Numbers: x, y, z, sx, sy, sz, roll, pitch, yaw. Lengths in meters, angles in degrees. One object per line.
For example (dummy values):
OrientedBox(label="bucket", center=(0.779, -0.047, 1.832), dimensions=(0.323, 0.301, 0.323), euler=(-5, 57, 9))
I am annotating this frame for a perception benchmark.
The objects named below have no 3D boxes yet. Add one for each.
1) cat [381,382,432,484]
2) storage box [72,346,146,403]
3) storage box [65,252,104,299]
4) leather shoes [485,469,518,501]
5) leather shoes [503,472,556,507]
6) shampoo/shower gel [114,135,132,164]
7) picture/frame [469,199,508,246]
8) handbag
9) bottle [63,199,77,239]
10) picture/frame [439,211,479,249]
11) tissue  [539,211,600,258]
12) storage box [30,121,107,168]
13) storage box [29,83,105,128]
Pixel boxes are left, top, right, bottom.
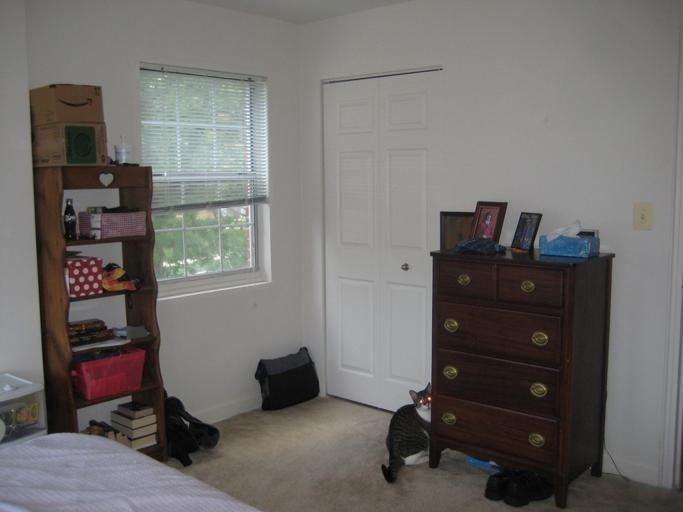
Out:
OrientedBox(label="cat", center=(0.468, 1.184, 3.638), dimensions=(0.240, 0.304, 0.715), euler=(0, 48, 36))
OrientedBox(label="storage box", center=(-1.417, 0.712, 3.200), dimensions=(0.240, 0.244, 0.352), euler=(1, 1, 45))
OrientedBox(label="storage box", center=(-1.513, 0.102, 3.079), dimensions=(0.222, 0.232, 0.222), euler=(-6, 10, -41))
OrientedBox(label="leather shoes", center=(0.940, 1.369, 3.098), dimensions=(0.094, 0.093, 0.214), euler=(4, 10, 31))
OrientedBox(label="leather shoes", center=(1.087, 1.358, 3.051), dimensions=(0.286, 0.119, 0.141), euler=(-7, 6, -34))
OrientedBox(label="shampoo/shower gel", center=(-1.399, -0.653, 3.307), dimensions=(0.109, 0.122, 0.058), euler=(3, 10, 20))
OrientedBox(label="picture/frame", center=(1.008, -0.225, 3.535), dimensions=(0.037, 0.382, 0.265), euler=(15, -2, -44))
OrientedBox(label="handbag", center=(-0.470, 1.035, 4.332), dimensions=(0.442, 0.382, 0.182), euler=(-8, -5, -35))
OrientedBox(label="bottle", center=(-1.608, -0.222, 3.092), dimensions=(0.062, 0.237, 0.196), euler=(-6, 11, -27))
OrientedBox(label="picture/frame", center=(0.843, -0.193, 3.691), dimensions=(0.269, 0.284, 0.020), euler=(1, -1, 39))
OrientedBox(label="tissue ", center=(1.360, -0.137, 3.118), dimensions=(0.257, 0.172, 0.266), euler=(1, 5, 31))
OrientedBox(label="storage box", center=(-1.594, -0.616, 3.065), dimensions=(0.302, 0.201, 0.305), euler=(5, 9, 34))
OrientedBox(label="storage box", center=(-1.622, -0.875, 3.009), dimensions=(0.435, 0.233, 0.184), euler=(0, 9, 4))
